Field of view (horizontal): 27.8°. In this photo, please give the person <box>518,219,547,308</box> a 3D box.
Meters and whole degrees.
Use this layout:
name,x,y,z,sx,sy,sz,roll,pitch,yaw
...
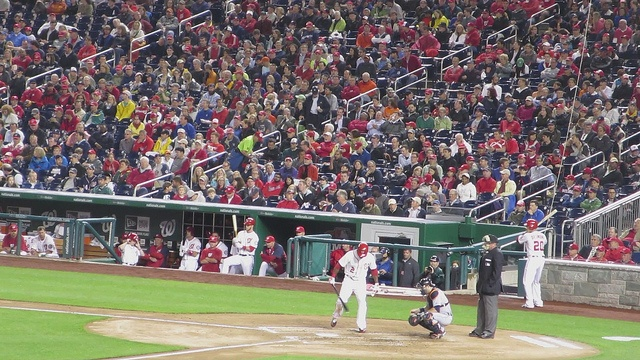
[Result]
name,x,y,z,sx,sy,sz,roll,pitch,yaw
person,7.867,3.064,48.003,1.206,3.161,0.969,2,-1,-24

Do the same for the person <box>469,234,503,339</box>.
name,x,y,z,sx,sy,sz,roll,pitch,yaw
person,5.806,3.580,44.109,0.869,3.514,0.720,4,-9,-7

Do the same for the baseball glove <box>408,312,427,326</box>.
name,x,y,z,sx,sy,sz,roll,pitch,yaw
baseball glove,3.329,4.666,43.870,0.492,0.250,0.365,-31,13,-30

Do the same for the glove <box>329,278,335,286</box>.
name,x,y,z,sx,sy,sz,roll,pitch,yaw
glove,0.439,3.469,44.493,0.197,0.253,0.092,10,9,21

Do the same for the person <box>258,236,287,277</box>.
name,x,y,z,sx,sy,sz,roll,pitch,yaw
person,-1.898,2.993,51.308,1.056,1.556,0.682,-1,-1,6

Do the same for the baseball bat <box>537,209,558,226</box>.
name,x,y,z,sx,sy,sz,roll,pitch,yaw
baseball bat,8.917,1.471,50.261,1.000,0.140,0.041,-45,-6,28

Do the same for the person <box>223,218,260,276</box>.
name,x,y,z,sx,sy,sz,roll,pitch,yaw
person,-3.134,2.569,50.874,1.288,2.303,0.834,3,-9,-5
